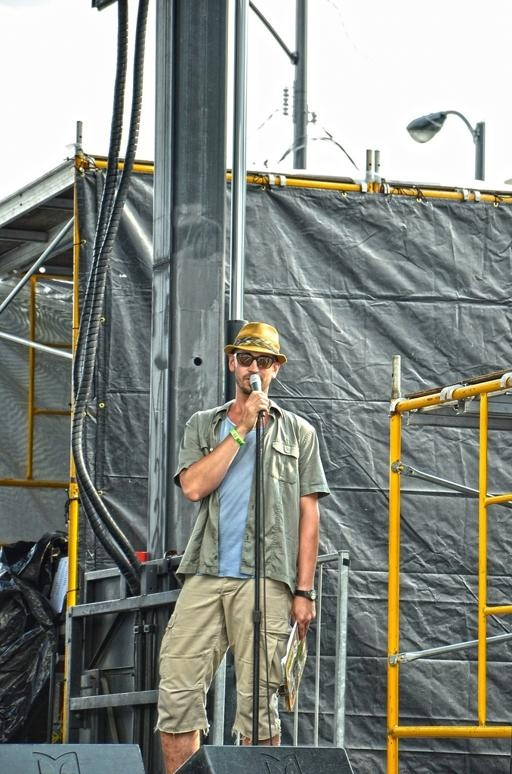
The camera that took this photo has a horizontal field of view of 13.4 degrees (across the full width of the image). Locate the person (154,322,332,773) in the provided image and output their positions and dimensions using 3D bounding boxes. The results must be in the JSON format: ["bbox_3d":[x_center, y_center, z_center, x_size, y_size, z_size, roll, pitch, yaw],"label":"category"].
[{"bbox_3d":[-0.053,0.696,9.619,0.729,1.985,0.472,2,-10,1],"label":"person"}]

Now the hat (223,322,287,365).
[{"bbox_3d":[0.009,-0.187,9.725,0.181,0.120,0.209,13,-18,1],"label":"hat"}]
